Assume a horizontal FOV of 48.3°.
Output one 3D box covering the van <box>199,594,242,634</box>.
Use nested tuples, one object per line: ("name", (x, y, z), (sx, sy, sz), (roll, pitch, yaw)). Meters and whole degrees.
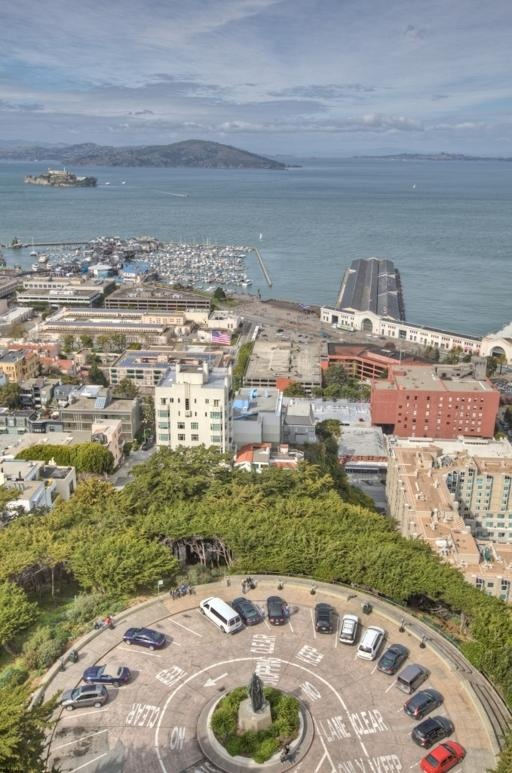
("van", (-1.688, 11.343, 28.285), (0.912, 0.886, 2.177), (-12, 18, -41))

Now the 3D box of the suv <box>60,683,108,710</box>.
("suv", (-6.829, 12.345, 22.903), (2.141, 0.864, 1.191), (4, 11, -7))

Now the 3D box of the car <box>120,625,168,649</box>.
("car", (-5.285, 11.744, 26.731), (1.935, 0.638, 0.841), (8, 29, 6))
